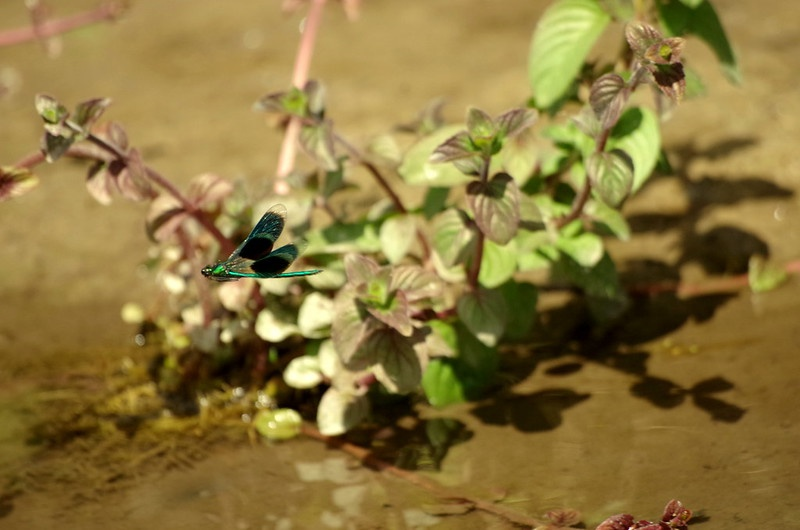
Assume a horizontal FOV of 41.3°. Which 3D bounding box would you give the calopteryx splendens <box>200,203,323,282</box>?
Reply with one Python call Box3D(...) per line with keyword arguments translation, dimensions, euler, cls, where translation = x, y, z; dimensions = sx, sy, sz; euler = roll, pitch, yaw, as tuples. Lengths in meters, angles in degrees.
Box3D(translation=(-0.232, -0.037, 1.772), dimensions=(0.161, 0.129, 0.078), euler=(-11, 19, -1), cls="calopteryx splendens")
